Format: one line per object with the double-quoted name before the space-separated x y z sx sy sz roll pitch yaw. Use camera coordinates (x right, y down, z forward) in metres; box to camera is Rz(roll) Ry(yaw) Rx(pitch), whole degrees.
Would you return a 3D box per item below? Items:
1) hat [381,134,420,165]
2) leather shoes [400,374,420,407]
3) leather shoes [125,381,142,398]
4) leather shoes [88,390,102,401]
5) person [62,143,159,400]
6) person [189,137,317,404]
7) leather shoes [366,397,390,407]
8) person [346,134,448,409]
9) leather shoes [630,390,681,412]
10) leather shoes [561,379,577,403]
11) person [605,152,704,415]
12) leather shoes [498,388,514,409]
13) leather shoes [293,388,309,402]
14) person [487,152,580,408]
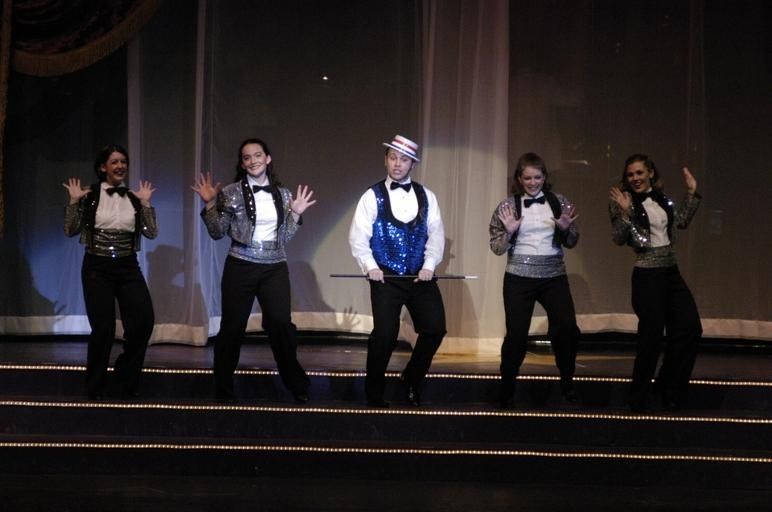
"hat" 0.142 -0.926 5.996 0.371 0.116 0.382 26 -1 9
"leather shoes" 0.202 1.062 5.486 0.162 0.234 0.166 1 3 1
"leather shoes" -2.039 1.075 5.557 0.132 0.123 0.091 0 4 -22
"leather shoes" -2.310 1.100 5.485 0.123 0.092 0.070 1 0 -3
"person" -2.263 0.102 5.707 0.702 2.032 0.589 0 4 -25
"person" -1.057 0.102 5.550 0.899 2.078 0.406 1 3 -7
"leather shoes" -0.061 1.144 5.405 0.181 0.078 0.063 -2 -5 6
"person" 0.093 0.105 5.540 0.772 2.125 0.424 1 3 -4
"leather shoes" 2.144 1.144 5.441 0.440 0.137 0.128 1 3 -13
"leather shoes" 1.457 1.071 5.511 0.085 0.226 0.098 -7 -22 -3
"person" 2.127 0.196 5.563 0.650 2.009 0.471 0 3 -16
"leather shoes" 0.949 1.114 5.418 0.110 0.158 0.115 2 3 9
"leather shoes" -0.674 1.106 5.497 0.132 0.105 0.135 1 4 -14
"person" 1.193 0.179 5.574 0.719 2.007 0.523 2 3 9
